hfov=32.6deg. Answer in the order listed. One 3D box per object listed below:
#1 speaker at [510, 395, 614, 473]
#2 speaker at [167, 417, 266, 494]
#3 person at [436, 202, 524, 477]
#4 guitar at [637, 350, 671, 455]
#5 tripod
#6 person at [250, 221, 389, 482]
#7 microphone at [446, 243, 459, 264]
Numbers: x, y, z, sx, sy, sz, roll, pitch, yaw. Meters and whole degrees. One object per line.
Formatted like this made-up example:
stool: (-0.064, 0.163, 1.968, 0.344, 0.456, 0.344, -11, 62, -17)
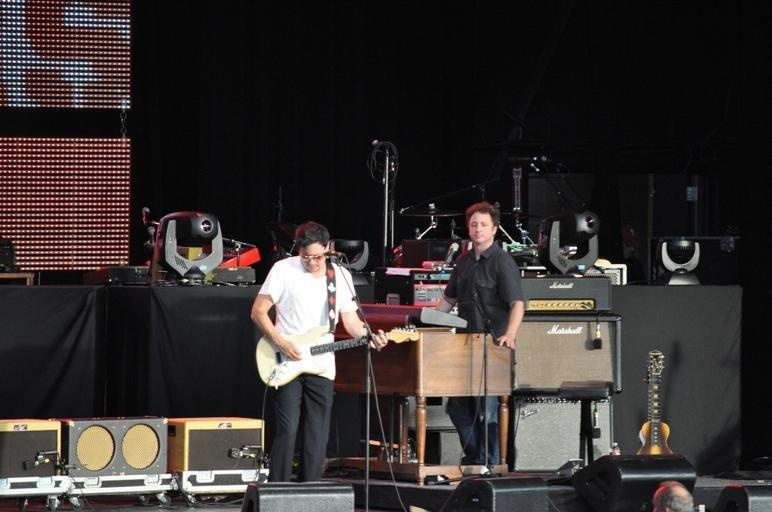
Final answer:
speaker: (1.784, 1.831, 14.033, 1.375, 1.061, 0.748, 1, -2, -4)
speaker: (-1.683, 2.037, 13.399, 1.069, 0.758, 0.491, 1, 4, -17)
person: (0.933, 0.806, 13.327, 1.033, 2.582, 0.923, 0, -2, 37)
guitar: (2.899, 1.585, 14.168, 0.358, 1.112, 0.776, 0, -3, 10)
tripod: (0.878, 1.080, 13.255, 0.560, 2.056, 1.107, 1, -3, -9)
person: (-0.649, 1.122, 12.979, 1.366, 2.805, 0.885, 1, 8, -15)
microphone: (0.699, -0.035, 14.156, 0.099, 0.290, 0.088, 27, 45, 8)
